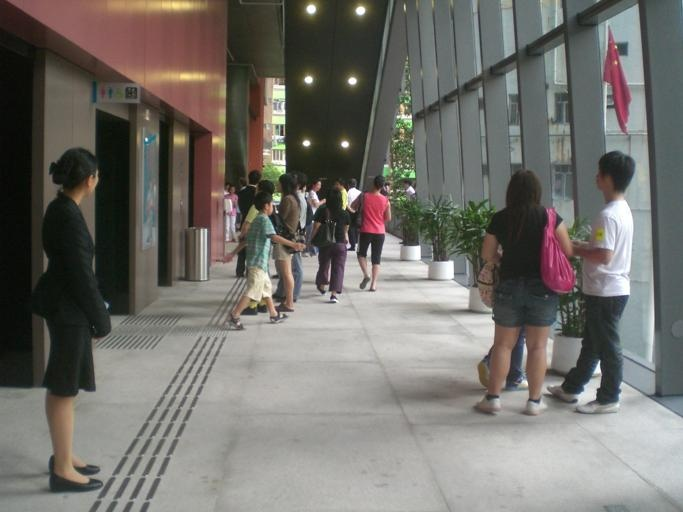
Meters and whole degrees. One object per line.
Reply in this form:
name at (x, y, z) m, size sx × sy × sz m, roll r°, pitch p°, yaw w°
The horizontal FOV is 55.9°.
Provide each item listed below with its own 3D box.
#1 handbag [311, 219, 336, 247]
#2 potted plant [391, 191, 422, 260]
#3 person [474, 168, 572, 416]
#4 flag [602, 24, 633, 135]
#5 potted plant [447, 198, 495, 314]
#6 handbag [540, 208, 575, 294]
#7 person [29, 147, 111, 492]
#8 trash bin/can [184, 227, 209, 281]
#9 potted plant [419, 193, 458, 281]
handbag at (-0.283, -0.381, 10.731) m, size 0.349 × 0.483 × 0.189 m, roll 4°, pitch 12°, yaw 5°
potted plant at (1.735, -0.699, 16.881) m, size 0.743 × 1.429 × 0.872 m, roll 10°, pitch 2°, yaw 19°
person at (1.561, 0.338, 5.729) m, size 0.661 × 2.188 × 0.266 m, roll 2°, pitch 6°, yaw 20°
flag at (3.710, -2.410, 8.667) m, size 0.346 × 1.476 × 0.860 m, roll 3°, pitch 7°, yaw 24°
potted plant at (1.995, -0.021, 9.373) m, size 0.676 × 1.644 × 0.758 m, roll -2°, pitch -2°, yaw 26°
handbag at (1.888, -0.035, 5.640) m, size 0.275 × 0.747 × 0.290 m, roll 3°, pitch 7°, yaw 26°
person at (-1.890, 0.446, 4.526) m, size 0.483 × 2.396 × 0.371 m, roll -3°, pitch 7°, yaw -30°
trash bin/can at (-2.878, -0.030, 12.871) m, size 0.470 × 1.073 × 0.395 m, roll -1°, pitch 6°, yaw -17°
potted plant at (1.961, -0.356, 13.569) m, size 0.730 × 1.724 × 0.853 m, roll -9°, pitch 1°, yaw 9°
